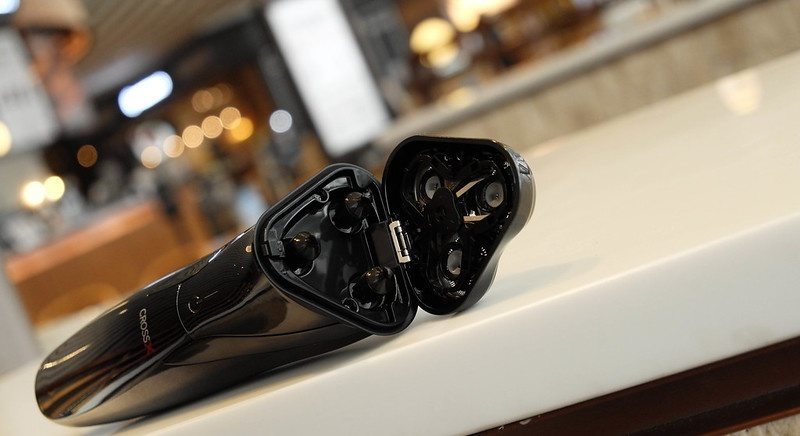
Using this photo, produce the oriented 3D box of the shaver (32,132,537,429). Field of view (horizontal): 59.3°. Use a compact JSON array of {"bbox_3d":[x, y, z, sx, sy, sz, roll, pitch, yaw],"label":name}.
[{"bbox_3d":[-0.182,0.145,1.041,0.785,0.262,0.260,-19,-6,16],"label":"shaver"}]
